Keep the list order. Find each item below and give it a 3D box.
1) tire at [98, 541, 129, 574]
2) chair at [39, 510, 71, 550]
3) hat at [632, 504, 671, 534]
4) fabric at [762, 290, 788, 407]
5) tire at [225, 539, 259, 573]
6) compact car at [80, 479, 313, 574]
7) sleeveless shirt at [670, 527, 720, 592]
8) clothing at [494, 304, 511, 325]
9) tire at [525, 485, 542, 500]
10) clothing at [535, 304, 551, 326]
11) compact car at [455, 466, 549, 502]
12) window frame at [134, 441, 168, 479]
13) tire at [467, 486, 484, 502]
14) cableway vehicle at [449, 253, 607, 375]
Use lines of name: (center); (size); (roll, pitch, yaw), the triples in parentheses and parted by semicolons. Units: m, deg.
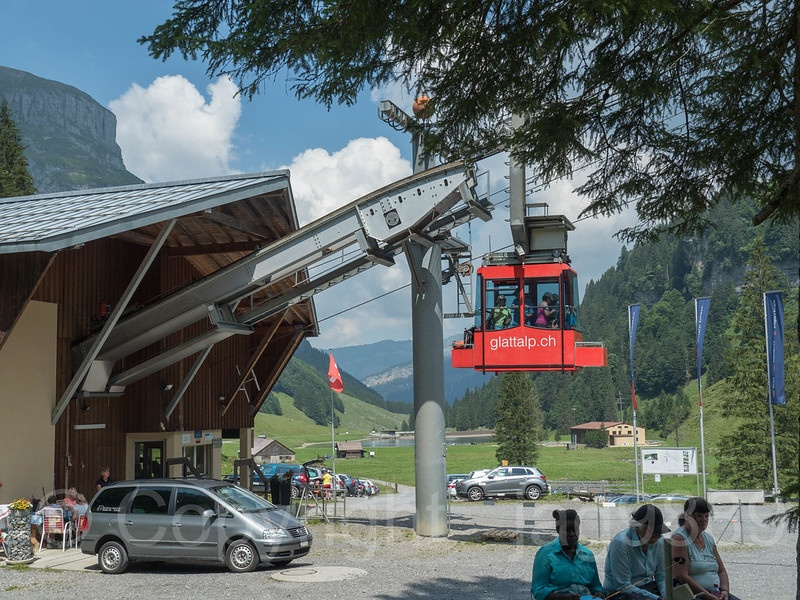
tire: (-6.167, 5.565, 21.356); (0.639, 0.669, 0.214); (-1, -13, 6)
chair: (-8.342, 5.588, 23.959); (0.706, 0.972, 0.842); (1, -11, -11)
hat: (3.639, 3.165, 14.325); (0.557, 0.319, 0.389); (3, -1, -2)
fabric: (14.481, 1.850, 38.398); (0.736, 4.237, 3.129); (-5, -12, 19)
tire: (-3.372, 5.473, 21.177); (0.680, 0.711, 0.249); (0, -1, 9)
compact car: (-4.480, 4.967, 22.015); (3.879, 1.680, 2.267); (-3, -10, 9)
sleeveless shirt: (4.251, 3.823, 14.414); (0.657, 0.964, 0.513); (10, -22, -35)
clothing: (2.886, 0.434, 28.367); (0.396, 0.660, 0.638); (0, -21, 1)
tire: (5.839, 8.465, 43.604); (0.637, 0.665, 0.232); (1, -6, -1)
clothing: (4.087, 0.395, 28.108); (0.503, 0.741, 0.636); (-4, -3, 0)
compact car: (4.580, 8.283, 44.224); (3.639, 1.364, 1.671); (2, -8, 2)
window frame: (-7.591, 4.835, 29.985); (0.110, 1.364, 1.150); (-5, -6, 32)
tire: (3.291, 8.548, 43.574); (0.592, 0.619, 0.197); (0, -6, 4)
cableway vehicle: (3.754, 0.435, 29.168); (4.621, 3.426, 2.686); (-2, -5, 20)
